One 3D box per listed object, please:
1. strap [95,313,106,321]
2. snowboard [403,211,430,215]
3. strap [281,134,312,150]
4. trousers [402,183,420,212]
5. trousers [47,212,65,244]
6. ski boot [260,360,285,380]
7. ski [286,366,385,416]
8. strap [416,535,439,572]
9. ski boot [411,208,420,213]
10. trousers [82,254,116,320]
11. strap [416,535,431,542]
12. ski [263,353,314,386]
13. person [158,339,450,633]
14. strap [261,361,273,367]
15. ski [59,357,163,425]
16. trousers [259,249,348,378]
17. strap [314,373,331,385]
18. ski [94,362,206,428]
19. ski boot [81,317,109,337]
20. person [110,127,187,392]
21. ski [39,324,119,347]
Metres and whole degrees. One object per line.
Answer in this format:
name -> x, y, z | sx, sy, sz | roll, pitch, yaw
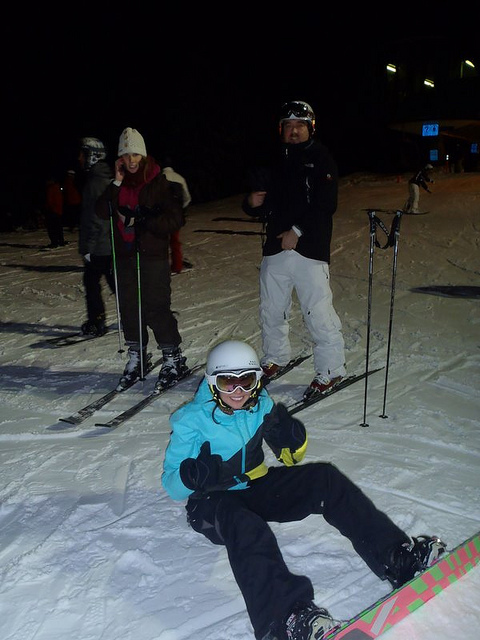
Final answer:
strap -> -1.606, -0.028, 5.596 | 0.078, 0.084, 0.082 | -40, 16, 16
snowboard -> 4.952, -2.996, 13.528 | 0.683, 0.068, 0.492 | -1, 14, 6
strap -> 0.438, -1.385, 3.756 | 0.230, 0.118, 0.128 | -1, 14, 6
trousers -> 4.781, -3.455, 13.557 | 0.336, 0.754, 0.505 | 1, 15, 16
trousers -> -4.243, -2.114, 11.096 | 0.341, 1.088, 0.270 | 3, 54, -17
ski boot -> 0.261, 0.442, 4.182 | 0.324, 0.134, 0.105 | -6, 9, -40
ski -> 0.755, 0.578, 3.822 | 1.230, 0.077, 0.129 | -16, 29, -43
strap -> 0.654, 0.816, 1.673 | 0.114, 0.045, 0.085 | -31, 16, 40
ski boot -> 4.904, -3.068, 13.544 | 0.288, 0.093, 0.189 | 2, -12, 19
trousers -> -1.582, -0.403, 5.606 | 0.361, 0.757, 0.357 | -4, 23, -8
strap -> 0.661, 0.787, 1.740 | 0.040, 0.020, 0.054 | 4, -10, -3
ski -> 0.409, 0.452, 4.261 | 0.089, 0.068, 0.657 | 17, 26, 36
person -> 0.158, 0.618, 2.179 | 0.899, 0.728, 1.291 | -9, 14, -26
strap -> 0.222, 0.390, 4.212 | 0.061, 0.021, 0.045 | 6, 12, 28
ski -> -1.102, 0.598, 3.954 | 0.108, 0.069, 0.933 | -9, 13, 21
trousers -> 0.470, -0.055, 3.946 | 0.709, 1.055, 0.261 | 11, 21, 43
strap -> 0.661, 0.482, 3.883 | 0.061, 0.148, 0.052 | -56, 23, -14
ski -> -0.539, 0.446, 4.425 | 0.245, 0.175, 2.167 | 0, 16, 23
ski boot -> -1.669, 0.089, 5.562 | 0.265, 0.252, 0.194 | 5, 5, 42
person -> -0.814, -0.457, 3.953 | 0.529, 2.080, 0.419 | -1, 15, 8
ski -> -1.790, 0.188, 5.586 | 0.293, 0.112, 1.026 | 16, 19, 36
